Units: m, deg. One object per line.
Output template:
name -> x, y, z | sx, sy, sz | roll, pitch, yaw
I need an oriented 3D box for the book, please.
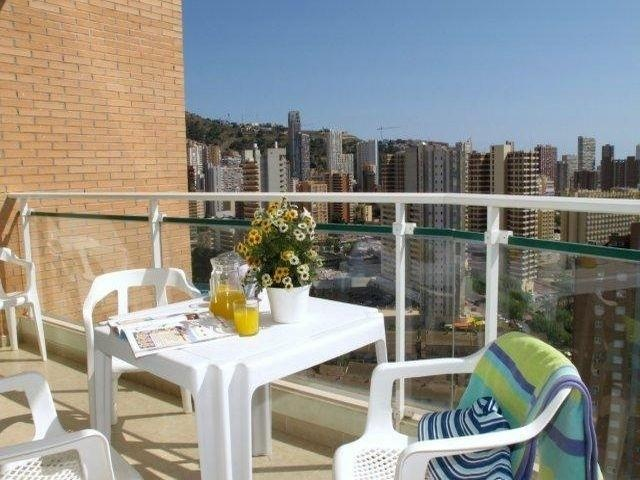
book -> -0.518, 0.273, 1.649 | 0.375, 0.086, 0.376 | 1, 9, -29

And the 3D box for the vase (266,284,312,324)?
vase -> -0.111, 0.218, 1.703 | 0.120, 0.152, 0.107 | 0, 9, -33

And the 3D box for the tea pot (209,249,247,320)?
tea pot -> -0.338, 0.163, 1.795 | 0.100, 0.278, 0.111 | -6, 11, -40

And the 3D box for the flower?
flower -> -0.102, 0.021, 1.862 | 0.273, 0.405, 0.323 | -1, 1, 24
